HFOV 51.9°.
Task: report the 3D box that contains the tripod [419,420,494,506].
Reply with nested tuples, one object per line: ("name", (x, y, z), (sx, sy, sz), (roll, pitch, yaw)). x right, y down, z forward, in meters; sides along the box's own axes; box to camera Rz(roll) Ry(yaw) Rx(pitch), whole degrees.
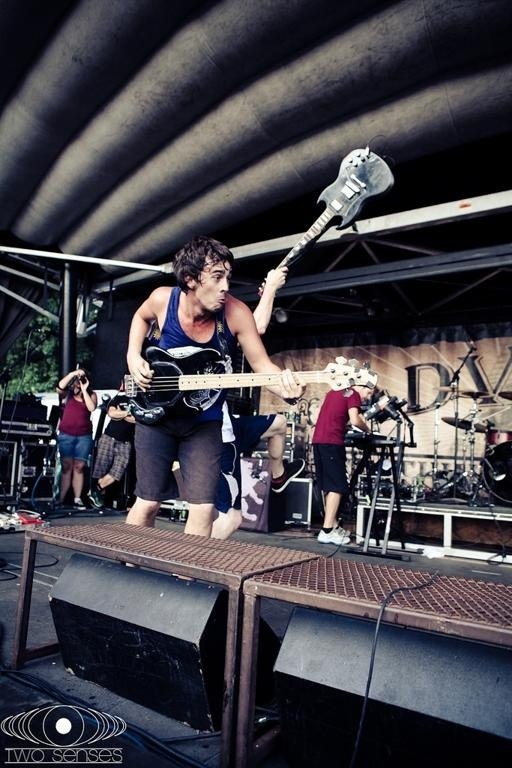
("tripod", (2.424, 0.982, 6.218), (1.012, 1.069, 1.104), (3, 0, 15))

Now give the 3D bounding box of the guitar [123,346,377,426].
("guitar", (-0.132, -0.009, 2.016), (1.077, 0.313, 0.273), (-3, -5, 25))

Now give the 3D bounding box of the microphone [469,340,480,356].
("microphone", (3.033, -0.509, 7.285), (0.196, 0.191, 0.069), (-16, 9, -42))

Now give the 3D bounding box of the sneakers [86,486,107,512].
("sneakers", (-1.879, 1.349, 6.210), (0.189, 0.263, 0.090), (-32, -10, -16))

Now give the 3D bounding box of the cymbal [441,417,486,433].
("cymbal", (2.548, 0.479, 6.393), (0.315, 0.075, 0.314), (19, -11, 15))

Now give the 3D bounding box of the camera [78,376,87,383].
("camera", (-1.953, -0.066, 5.902), (0.089, 0.088, 0.083), (1, -5, -23))

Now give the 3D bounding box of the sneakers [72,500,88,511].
("sneakers", (-2.083, 1.426, 6.191), (0.094, 0.130, 0.274), (5, -10, -42))
